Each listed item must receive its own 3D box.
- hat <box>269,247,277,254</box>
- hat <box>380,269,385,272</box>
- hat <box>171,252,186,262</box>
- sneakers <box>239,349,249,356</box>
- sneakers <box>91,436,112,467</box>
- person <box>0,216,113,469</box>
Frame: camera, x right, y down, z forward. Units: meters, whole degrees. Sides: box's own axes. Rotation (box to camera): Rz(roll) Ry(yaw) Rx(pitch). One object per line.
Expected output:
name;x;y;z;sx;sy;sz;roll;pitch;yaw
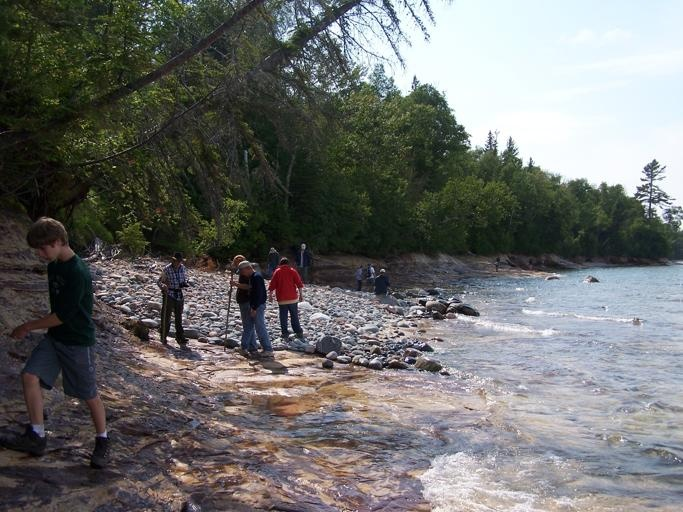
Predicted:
hat;-3.610;-0.281;27.990;0.295;0.316;0.849;0;3;-2
hat;2.310;0.807;29.882;0.407;0.183;0.609;0;-2;0
hat;-3.841;0.007;12.593;0.197;0.229;0.788;7;4;-20
sneakers;-2.315;2.289;12.741;0.275;0.107;0.094;27;21;29
sneakers;-2.777;2.255;6.187;0.165;0.404;0.176;13;-49;-29
person;-3.104;0.997;6.019;1.050;2.785;0.447;8;5;-26
